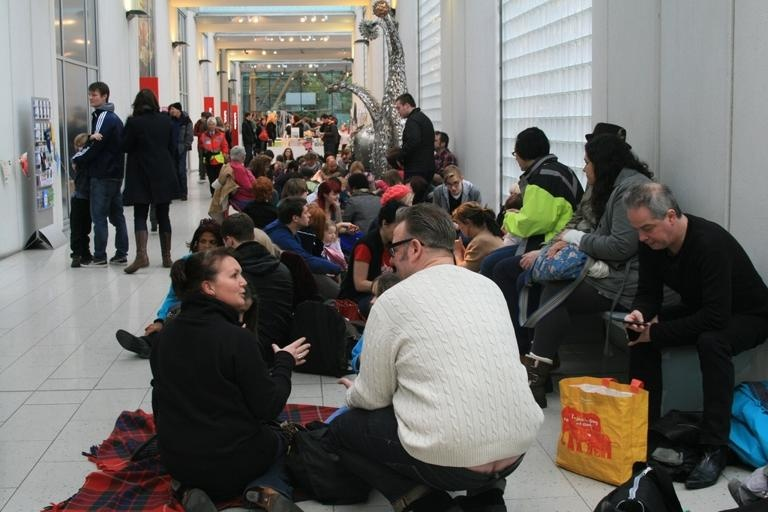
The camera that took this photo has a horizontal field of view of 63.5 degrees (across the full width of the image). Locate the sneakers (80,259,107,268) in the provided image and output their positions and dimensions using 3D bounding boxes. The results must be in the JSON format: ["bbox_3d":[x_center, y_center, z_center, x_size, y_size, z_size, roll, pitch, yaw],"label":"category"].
[{"bbox_3d":[-3.969,0.089,8.446,0.293,0.130,0.115,3,0,-6],"label":"sneakers"}]

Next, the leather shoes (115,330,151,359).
[{"bbox_3d":[-2.136,0.753,5.254,0.257,0.097,0.195,35,-1,-1],"label":"leather shoes"}]

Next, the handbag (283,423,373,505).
[{"bbox_3d":[-0.348,1.191,3.420,0.382,0.472,0.206,-1,-25,-12],"label":"handbag"}]

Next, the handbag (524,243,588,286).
[{"bbox_3d":[1.259,0.060,4.472,0.292,0.140,0.311,-9,11,-11],"label":"handbag"}]

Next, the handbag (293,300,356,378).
[{"bbox_3d":[-0.510,0.625,5.159,0.490,0.637,0.548,5,6,39],"label":"handbag"}]

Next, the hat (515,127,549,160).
[{"bbox_3d":[1.244,-0.971,5.313,0.218,0.313,0.301,-1,2,-2],"label":"hat"}]

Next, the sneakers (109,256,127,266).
[{"bbox_3d":[-3.675,0.053,8.569,0.248,0.120,0.103,5,11,1],"label":"sneakers"}]

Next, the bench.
[{"bbox_3d":[2.014,0.497,4.150,0.475,0.690,0.927,-2,4,5],"label":"bench"}]

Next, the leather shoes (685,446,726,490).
[{"bbox_3d":[1.872,1.197,3.600,0.385,0.164,0.123,-30,19,-37],"label":"leather shoes"}]
